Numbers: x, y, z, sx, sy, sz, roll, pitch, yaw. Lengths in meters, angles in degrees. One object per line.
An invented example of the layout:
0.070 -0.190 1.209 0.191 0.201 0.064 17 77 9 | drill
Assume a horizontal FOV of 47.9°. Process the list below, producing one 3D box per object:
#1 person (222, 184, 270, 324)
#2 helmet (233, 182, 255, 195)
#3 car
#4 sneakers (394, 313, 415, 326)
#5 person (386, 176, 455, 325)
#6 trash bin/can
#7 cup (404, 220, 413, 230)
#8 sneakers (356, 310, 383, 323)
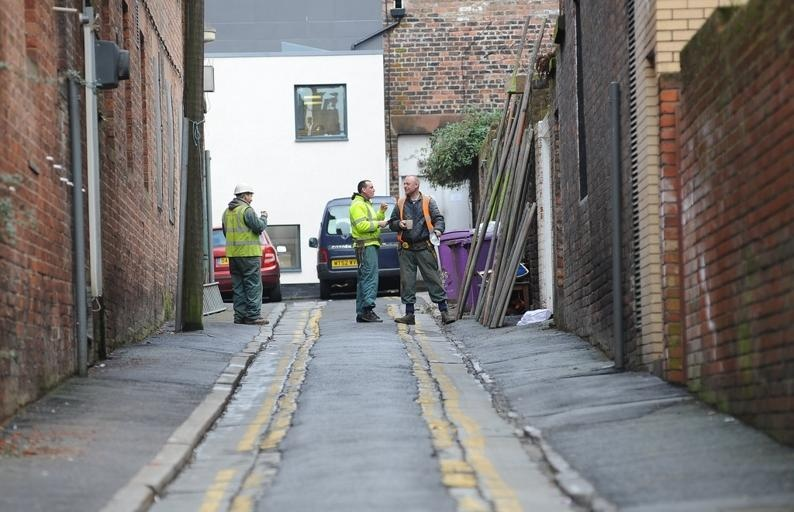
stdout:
-2.576 -0.003 15.398 0.601 2.396 0.753 -5 6 -35 | person
-2.606 -1.146 15.653 0.341 0.258 0.295 3 -2 -40 | helmet
-3.445 0.340 21.175 1.116 1.078 2.064 0 3 0 | car
0.166 1.077 14.918 0.361 0.289 0.140 6 1 4 | sneakers
0.357 -0.170 14.636 0.923 2.220 0.774 -2 5 -7 | person
1.413 0.295 16.808 1.175 1.721 1.406 -2 2 0 | trash bin/can
0.194 -0.486 14.411 0.156 0.167 0.114 0 -2 -4 | cup
-0.469 1.046 15.181 0.488 0.266 0.177 -2 -1 -4 | sneakers
